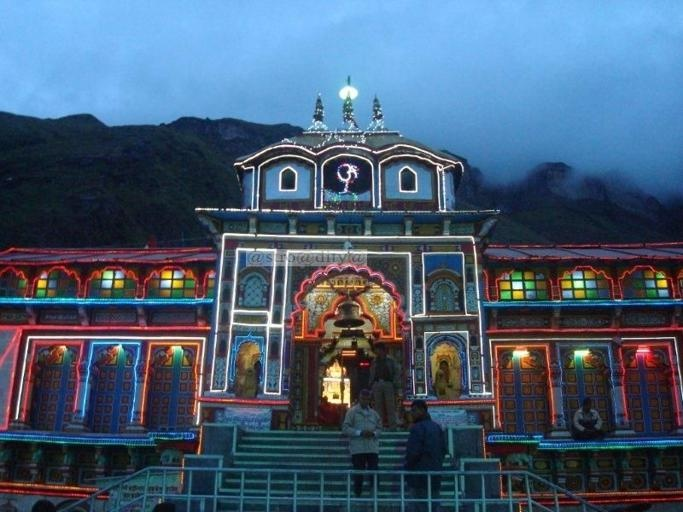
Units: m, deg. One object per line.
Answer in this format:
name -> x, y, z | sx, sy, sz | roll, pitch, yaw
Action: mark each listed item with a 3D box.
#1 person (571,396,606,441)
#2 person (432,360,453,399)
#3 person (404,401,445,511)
person -> 8.555, 5.657, 22.299 | 1.012, 1.371, 0.850 | -5, -3, 19
person -> 3.357, 4.068, 21.407 | 0.665, 1.330, 0.301 | 1, -18, -6
person -> 1.814, 4.352, 14.038 | 0.894, 2.307, 1.513 | -2, -18, 5
